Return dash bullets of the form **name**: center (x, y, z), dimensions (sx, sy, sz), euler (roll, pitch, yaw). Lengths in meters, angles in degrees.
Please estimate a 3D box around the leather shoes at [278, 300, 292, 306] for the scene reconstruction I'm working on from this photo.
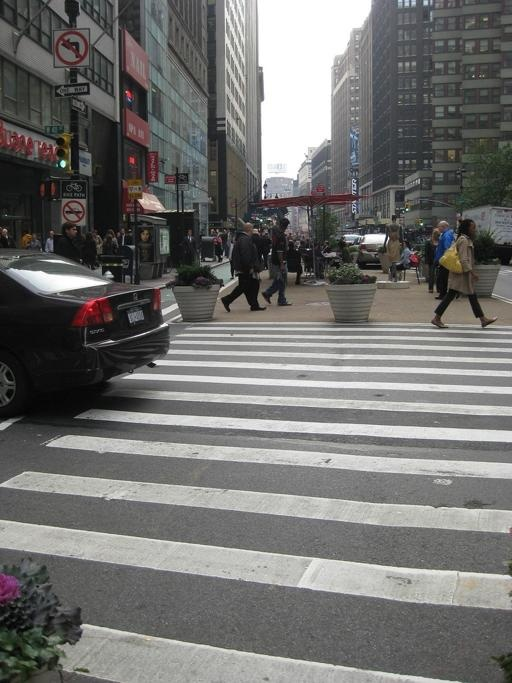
- **leather shoes**: center (0.850, -1.188, 17.664), dimensions (0.373, 0.182, 0.153), euler (1, 12, 6)

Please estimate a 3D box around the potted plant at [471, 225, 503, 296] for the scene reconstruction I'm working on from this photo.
- **potted plant**: center (7.015, -2.437, 17.817), dimensions (0.862, 2.077, 0.970), euler (-1, 4, 6)

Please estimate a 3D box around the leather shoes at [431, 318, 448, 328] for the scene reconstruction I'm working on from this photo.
- **leather shoes**: center (4.070, -0.391, 12.688), dimensions (0.486, 0.214, 0.165), euler (20, 5, -46)

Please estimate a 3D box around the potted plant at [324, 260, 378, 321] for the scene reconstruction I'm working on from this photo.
- **potted plant**: center (2.297, -1.213, 13.932), dimensions (1.058, 1.456, 1.165), euler (-5, 11, -8)

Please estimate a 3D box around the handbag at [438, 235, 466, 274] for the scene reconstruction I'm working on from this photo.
- **handbag**: center (4.190, -1.814, 12.233), dimensions (0.494, 0.762, 0.377), euler (3, 13, 34)

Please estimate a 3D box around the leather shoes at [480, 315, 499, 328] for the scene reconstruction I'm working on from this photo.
- **leather shoes**: center (5.269, -0.445, 12.951), dimensions (0.305, 0.263, 0.128), euler (-27, 12, 4)

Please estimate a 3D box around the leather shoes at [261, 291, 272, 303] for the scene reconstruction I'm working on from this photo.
- **leather shoes**: center (0.318, -1.406, 18.104), dimensions (0.190, 0.541, 0.166), euler (-13, -11, -1)

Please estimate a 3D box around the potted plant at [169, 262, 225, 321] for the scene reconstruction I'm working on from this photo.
- **potted plant**: center (-1.630, -1.309, 14.950), dimensions (1.282, 1.463, 1.389), euler (-10, 18, -22)

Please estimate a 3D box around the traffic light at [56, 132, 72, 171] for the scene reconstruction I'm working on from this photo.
- **traffic light**: center (-4.854, -4.814, 14.478), dimensions (0.407, 0.939, 0.673), euler (-8, 12, -18)
